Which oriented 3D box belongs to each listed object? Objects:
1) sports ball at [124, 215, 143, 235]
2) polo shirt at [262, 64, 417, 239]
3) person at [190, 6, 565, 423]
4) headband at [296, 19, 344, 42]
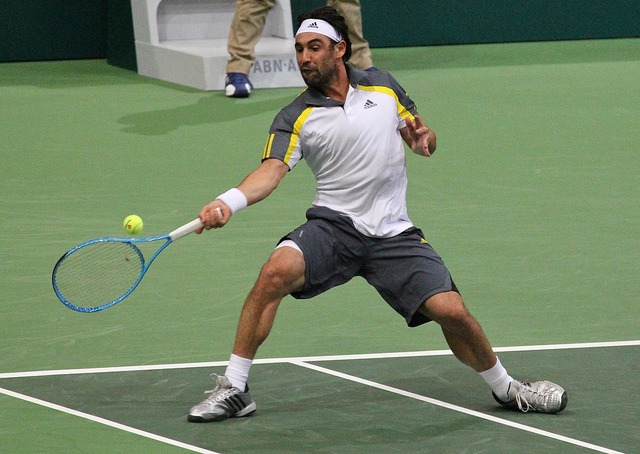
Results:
[{"bbox_3d":[-0.940,-0.017,3.755,0.098,0.088,0.091,12,29,-7],"label":"sports ball"},{"bbox_3d":[0.141,-0.367,3.853,0.942,0.845,0.433,-14,17,-25],"label":"polo shirt"},{"bbox_3d":[0.128,-0.107,3.657,1.479,1.882,1.056,0,18,-10],"label":"person"},{"bbox_3d":[0.012,-1.014,3.782,0.171,0.056,0.122,5,11,-17],"label":"headband"}]
